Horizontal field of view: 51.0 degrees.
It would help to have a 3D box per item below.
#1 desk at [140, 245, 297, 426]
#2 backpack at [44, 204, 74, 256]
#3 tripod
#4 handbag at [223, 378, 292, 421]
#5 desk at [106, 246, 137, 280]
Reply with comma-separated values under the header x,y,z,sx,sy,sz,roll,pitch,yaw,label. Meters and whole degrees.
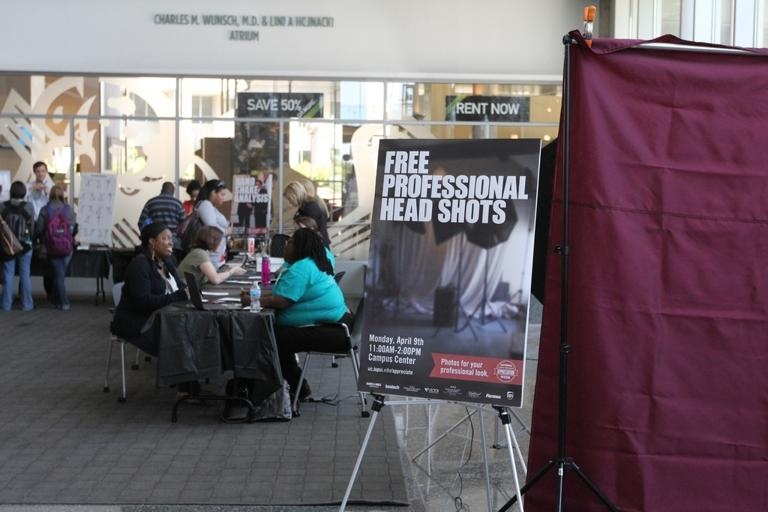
x,y,z,sx,sy,sz,roll,pitch,yaw,label
-1.647,0.478,7.781,1.469,0.721,2.228,3,15,2,desk
-4.692,-0.368,11.617,0.375,0.701,0.668,-2,25,-20,backpack
1.137,0.151,5.155,0.679,3.128,0.642,-2,10,-15,tripod
-1.107,1.298,7.109,0.448,0.229,0.374,2,-2,-3,handbag
-3.580,0.094,10.932,0.458,0.540,0.478,0,-1,-4,desk
